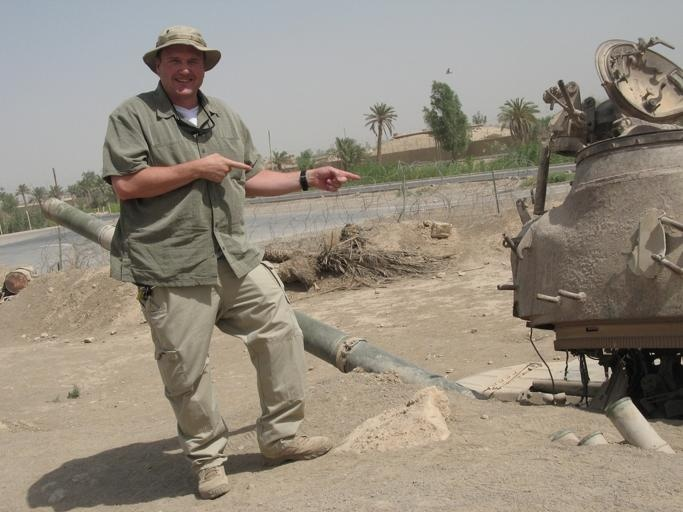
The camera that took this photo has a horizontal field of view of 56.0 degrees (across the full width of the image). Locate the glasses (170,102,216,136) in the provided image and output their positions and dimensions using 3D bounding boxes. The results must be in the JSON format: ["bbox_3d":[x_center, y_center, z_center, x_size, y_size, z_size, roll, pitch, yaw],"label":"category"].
[{"bbox_3d":[-1.025,-0.953,4.453,0.169,0.067,0.272,-4,35,-23],"label":"glasses"}]

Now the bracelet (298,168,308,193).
[{"bbox_3d":[-0.288,-0.574,4.885,0.042,0.131,0.136,-3,-4,5],"label":"bracelet"}]

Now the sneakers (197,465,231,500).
[{"bbox_3d":[-0.864,1.507,4.287,0.208,0.222,0.160,-9,2,-14],"label":"sneakers"}]

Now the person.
[{"bbox_3d":[-0.920,0.010,4.483,1.319,3.194,0.597,-9,2,-18],"label":"person"}]

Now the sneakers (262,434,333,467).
[{"bbox_3d":[-0.301,1.358,4.696,0.508,0.214,0.195,-9,23,-13],"label":"sneakers"}]
